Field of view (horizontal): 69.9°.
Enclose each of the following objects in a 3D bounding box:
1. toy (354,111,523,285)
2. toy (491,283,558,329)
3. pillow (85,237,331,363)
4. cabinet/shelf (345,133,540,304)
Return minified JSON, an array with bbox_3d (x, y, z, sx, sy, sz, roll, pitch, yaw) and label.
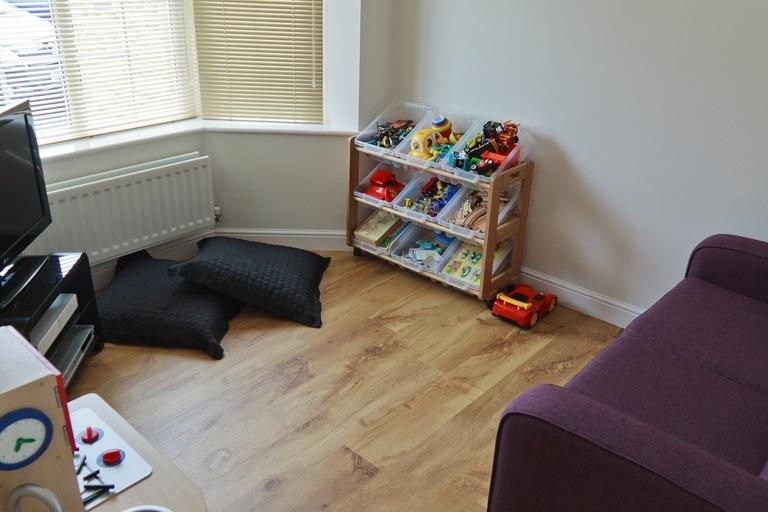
[{"bbox_3d":[0.352,-0.350,3.255,0.818,0.731,0.324,32,37,32],"label":"toy"},{"bbox_3d":[0.826,0.252,3.200,0.274,0.144,0.399,18,32,32],"label":"toy"},{"bbox_3d":[-0.973,0.249,2.966,0.871,0.237,0.773,4,35,-5],"label":"pillow"},{"bbox_3d":[0.303,-0.303,3.384,0.473,0.789,1.085,-23,35,-39],"label":"cabinet/shelf"}]
